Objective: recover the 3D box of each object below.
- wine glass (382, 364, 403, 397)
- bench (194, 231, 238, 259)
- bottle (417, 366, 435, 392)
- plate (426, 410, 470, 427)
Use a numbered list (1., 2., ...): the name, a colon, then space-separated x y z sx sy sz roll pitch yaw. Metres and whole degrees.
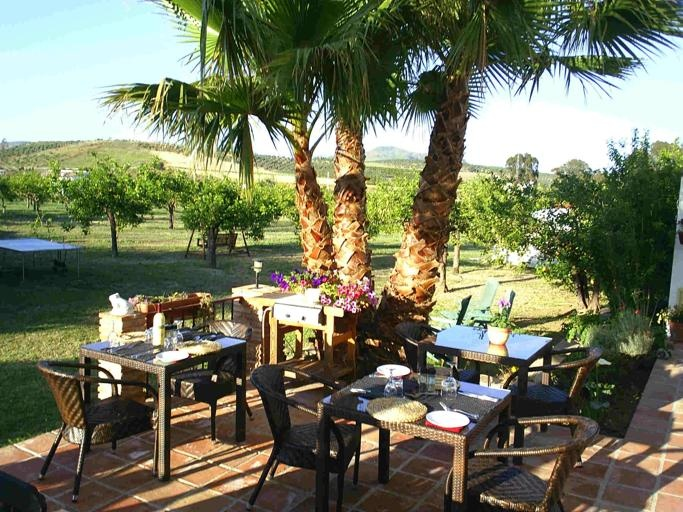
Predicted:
1. wine glass: 0.425 1.089 4.927 0.145 0.399 0.153 -4 6 -22
2. bench: -6.327 -0.530 28.330 1.419 1.054 0.625 -2 18 -14
3. bottle: 0.737 1.074 4.982 0.151 0.307 0.164 -1 6 0
4. plate: 0.823 1.263 4.342 0.336 0.062 0.207 3 6 5
